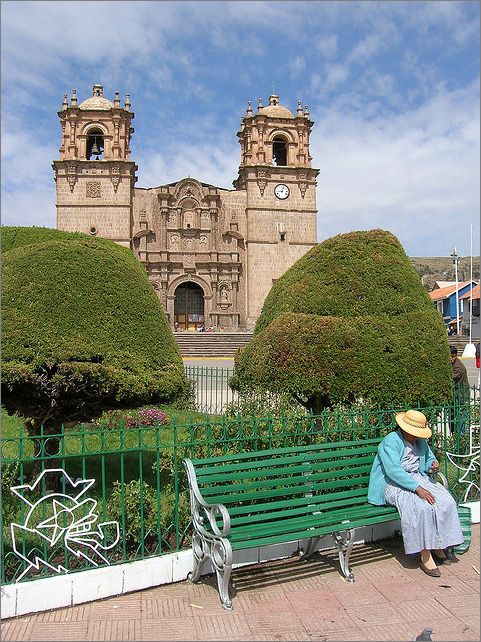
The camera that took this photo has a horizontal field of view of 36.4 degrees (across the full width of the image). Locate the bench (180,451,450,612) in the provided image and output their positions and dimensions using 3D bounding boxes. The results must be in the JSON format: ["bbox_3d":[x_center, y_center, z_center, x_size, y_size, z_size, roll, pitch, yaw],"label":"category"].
[{"bbox_3d":[0.561,1.386,5.204,1.905,0.853,0.671,2,-1,-36],"label":"bench"}]

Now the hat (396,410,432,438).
[{"bbox_3d":[1.268,0.759,5.348,0.205,0.075,0.213,10,23,-47],"label":"hat"}]

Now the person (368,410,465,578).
[{"bbox_3d":[1.266,1.310,5.377,0.649,1.353,0.915,9,-17,-23],"label":"person"}]

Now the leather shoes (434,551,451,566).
[{"bbox_3d":[1.441,1.710,5.233,0.052,0.069,0.166,1,6,-7],"label":"leather shoes"}]

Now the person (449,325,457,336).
[{"bbox_3d":[11.094,0.516,38.434,0.342,0.399,1.094,19,14,10],"label":"person"}]

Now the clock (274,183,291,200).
[{"bbox_3d":[1.841,-5.959,33.199,0.713,0.784,0.078,-2,3,-13],"label":"clock"}]
